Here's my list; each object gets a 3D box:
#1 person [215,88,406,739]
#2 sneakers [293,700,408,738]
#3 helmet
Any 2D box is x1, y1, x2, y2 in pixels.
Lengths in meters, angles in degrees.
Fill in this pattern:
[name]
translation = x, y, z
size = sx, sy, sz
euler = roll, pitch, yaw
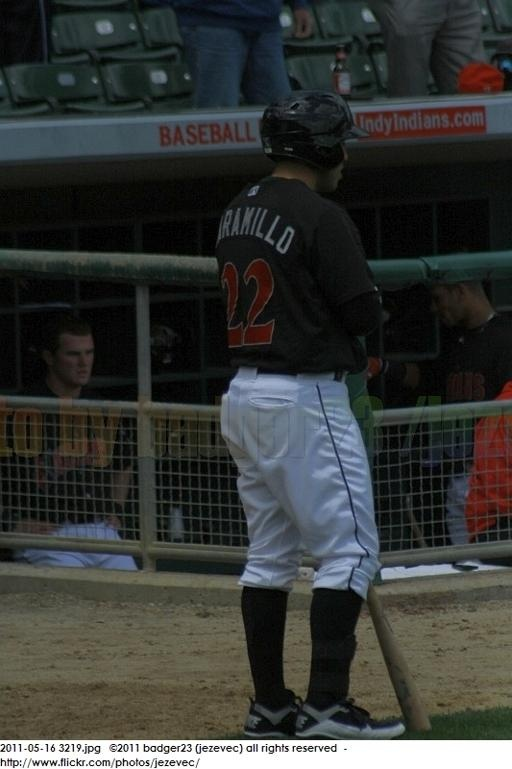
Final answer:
[person]
translation = 0.181, 0.109, 5.301
size = 0.608, 2.042, 0.772
euler = 0, 15, -2
[sneakers]
translation = 0.293, 1.068, 5.261
size = 0.378, 0.140, 0.122
euler = 1, -6, -5
[helmet]
translation = 0.182, -0.831, 5.287
size = 0.317, 0.218, 0.248
euler = -2, 8, -4
